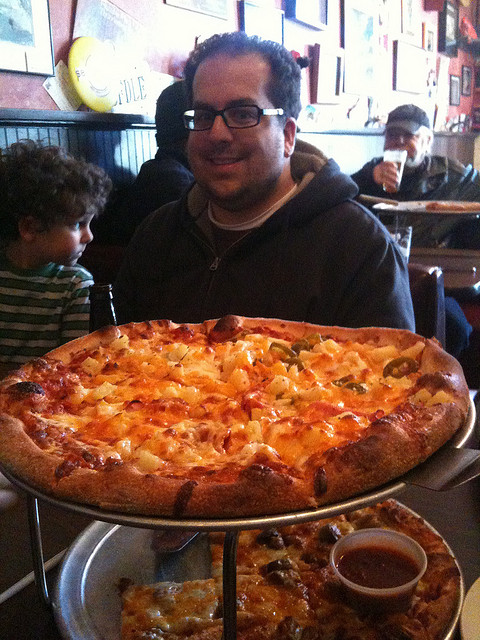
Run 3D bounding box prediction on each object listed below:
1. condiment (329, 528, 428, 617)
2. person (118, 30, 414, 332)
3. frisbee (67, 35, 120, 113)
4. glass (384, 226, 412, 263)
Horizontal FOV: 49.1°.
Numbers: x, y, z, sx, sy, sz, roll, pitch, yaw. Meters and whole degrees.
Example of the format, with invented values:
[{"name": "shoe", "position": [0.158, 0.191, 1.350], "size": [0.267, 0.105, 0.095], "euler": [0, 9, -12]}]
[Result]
[{"name": "condiment", "position": [0.169, 0.311, 0.656], "size": [0.120, 0.074, 0.137], "euler": [3, 12, -7]}, {"name": "person", "position": [0.027, -0.432, 1.863], "size": [1.175, 1.032, 0.579], "euler": [10, 14, 29]}, {"name": "frisbee", "position": [-0.852, -1.427, 3.062], "size": [0.060, 0.389, 0.427], "euler": [3, 14, 25]}, {"name": "glass", "position": [0.822, -0.383, 2.721], "size": [0.116, 0.198, 0.397], "euler": [0, 13, 16]}]
